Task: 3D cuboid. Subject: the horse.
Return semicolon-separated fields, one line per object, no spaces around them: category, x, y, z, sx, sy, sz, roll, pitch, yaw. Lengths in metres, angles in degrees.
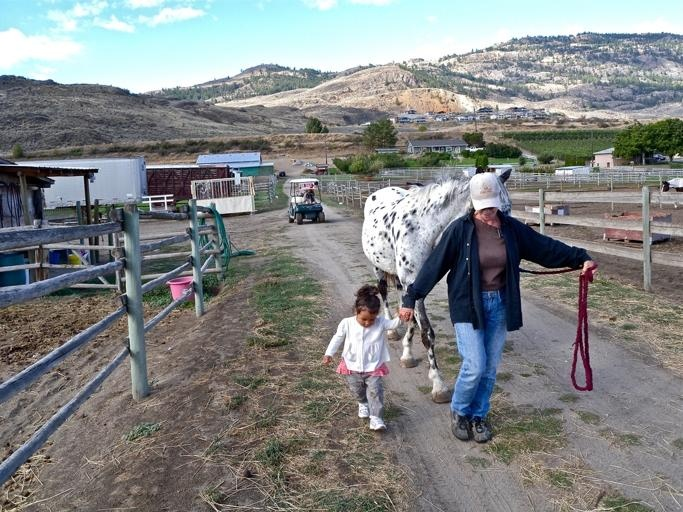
horse;1.004;0.201;5.574;1.080;2.440;4.052;-5;10;-8

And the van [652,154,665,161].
van;51.252;-15.902;68.898;1.586;1.205;3.389;6;14;36

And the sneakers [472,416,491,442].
sneakers;1.253;1.546;3.834;0.117;0.117;0.243;-4;4;2

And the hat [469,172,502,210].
hat;1.211;-0.540;3.607;0.230;0.193;0.333;-1;44;10

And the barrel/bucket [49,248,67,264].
barrel/bucket;-7.964;0.005;12.006;0.404;0.270;0.383;-2;-2;0

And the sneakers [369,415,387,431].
sneakers;0.324;1.535;3.934;0.085;0.084;0.197;0;-2;-35

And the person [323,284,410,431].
person;0.213;0.935;4.002;0.658;1.272;0.510;0;13;12
